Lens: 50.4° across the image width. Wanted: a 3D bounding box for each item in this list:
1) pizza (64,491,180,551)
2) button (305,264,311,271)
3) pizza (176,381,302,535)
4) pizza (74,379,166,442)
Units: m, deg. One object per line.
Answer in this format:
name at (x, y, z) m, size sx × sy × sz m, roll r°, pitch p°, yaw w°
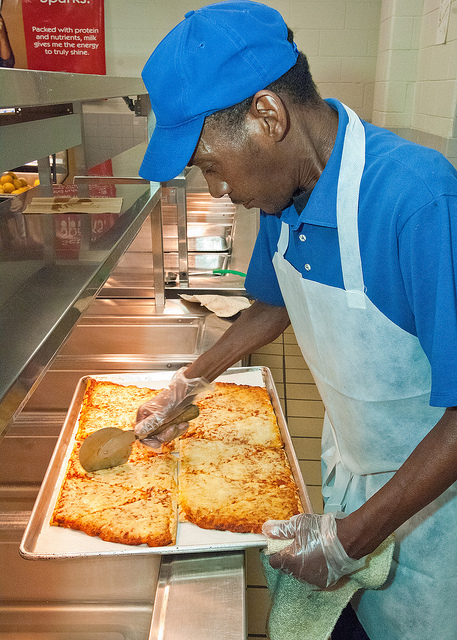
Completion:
pizza at (-0.203, 0.366, 0.939) m, size 0.211 × 0.219 × 0.024 m, roll 9°, pitch 41°, yaw -24°
button at (0.144, -0.094, 0.890) m, size 0.003 × 0.007 × 0.010 m, roll -24°, pitch 73°, yaw -36°
pizza at (0.009, 0.325, 1.247) m, size 0.266 × 0.031 × 0.698 m, roll -4°, pitch 16°, yaw -2°
pizza at (-0.278, 0.257, 1.333) m, size 0.282 × 0.030 × 0.290 m, roll 5°, pitch 22°, yaw -15°
